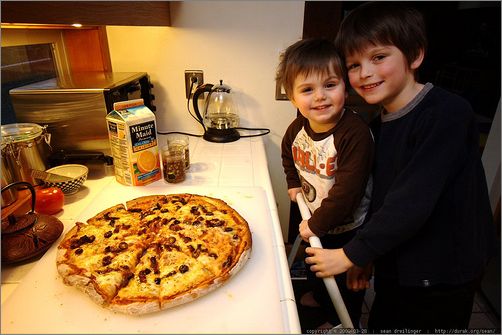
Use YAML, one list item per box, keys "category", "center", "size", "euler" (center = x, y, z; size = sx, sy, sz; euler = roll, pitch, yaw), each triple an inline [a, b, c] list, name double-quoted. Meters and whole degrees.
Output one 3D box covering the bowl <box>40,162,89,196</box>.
- category: "bowl"
  center: [-0.897, 0.084, 1.624]
  size: [0.165, 0.089, 0.161]
  euler: [-6, 8, 1]
